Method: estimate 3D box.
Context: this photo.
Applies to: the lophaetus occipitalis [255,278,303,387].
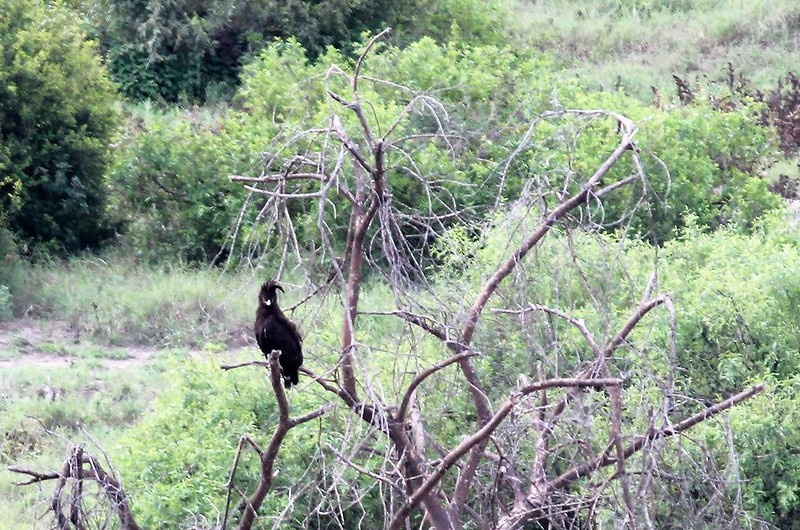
[{"bbox_3d":[-1.523,0.873,16.810,0.603,1.327,0.730,2,-6,-25],"label":"lophaetus occipitalis"}]
